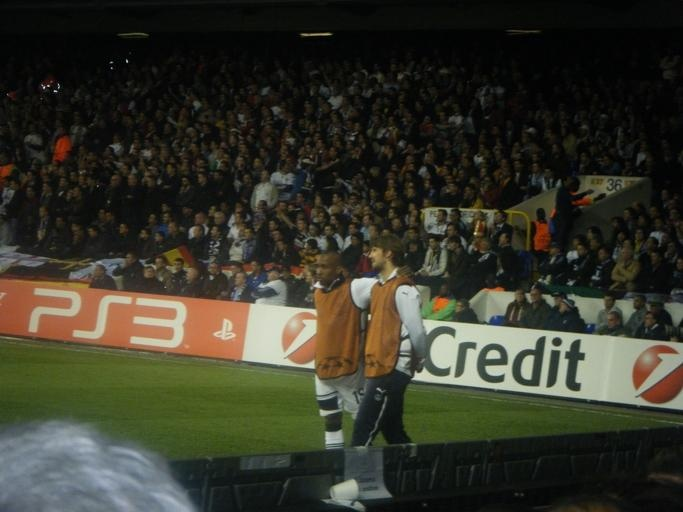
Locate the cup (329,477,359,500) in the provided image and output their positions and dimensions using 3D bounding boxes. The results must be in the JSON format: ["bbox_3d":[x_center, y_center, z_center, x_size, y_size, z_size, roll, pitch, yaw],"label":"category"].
[{"bbox_3d":[0.025,2.160,8.185,0.240,0.159,0.166,-4,3,-5],"label":"cup"}]

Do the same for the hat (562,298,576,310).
[{"bbox_3d":[3.261,0.671,12.545,0.185,0.129,0.161,0,7,9],"label":"hat"}]
